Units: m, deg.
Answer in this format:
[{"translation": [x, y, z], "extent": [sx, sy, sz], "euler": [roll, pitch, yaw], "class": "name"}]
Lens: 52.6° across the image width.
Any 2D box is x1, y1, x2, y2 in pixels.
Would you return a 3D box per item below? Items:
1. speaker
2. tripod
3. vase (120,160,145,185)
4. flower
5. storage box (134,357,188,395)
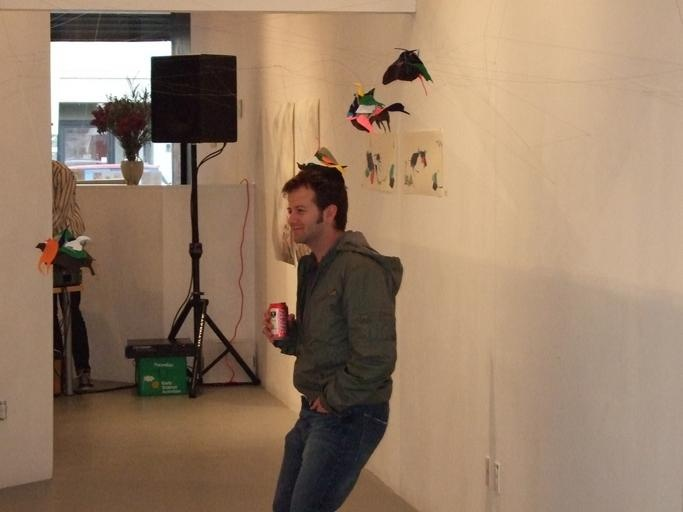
[{"translation": [-0.507, -0.525, 2.531], "extent": [0.347, 0.411, 0.268], "euler": [0, -3, -12], "class": "speaker"}, {"translation": [-0.494, 0.037, 2.624], "extent": [0.328, 0.918, 0.535], "euler": [-3, 9, -21], "class": "tripod"}, {"translation": [-0.732, -0.291, 2.446], "extent": [0.070, 0.082, 0.077], "euler": [1, -1, 24], "class": "vase"}, {"translation": [-0.748, -0.464, 2.445], "extent": [0.204, 0.245, 0.192], "euler": [10, 9, 43], "class": "flower"}, {"translation": [-0.672, 0.454, 2.571], "extent": [0.151, 0.135, 0.166], "euler": [0, -1, -10], "class": "storage box"}]
